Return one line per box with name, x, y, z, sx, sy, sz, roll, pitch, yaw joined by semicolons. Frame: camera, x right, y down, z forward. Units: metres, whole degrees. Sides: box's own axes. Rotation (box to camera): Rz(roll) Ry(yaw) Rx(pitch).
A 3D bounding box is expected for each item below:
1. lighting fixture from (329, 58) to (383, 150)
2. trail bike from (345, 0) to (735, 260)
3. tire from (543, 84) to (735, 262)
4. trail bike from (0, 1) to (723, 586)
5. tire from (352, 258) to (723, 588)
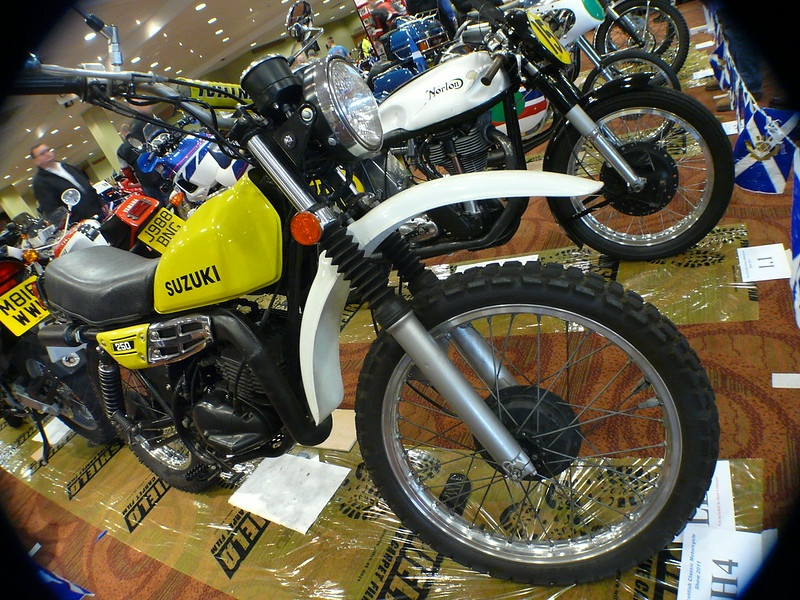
lighting fixture;-0.183;-0.606;1.905;0.065;0.249;0.249;-14;-8;15
trail bike;0.815;-0.810;3.094;2.025;1.174;1.073;-7;29;24
tire;1.178;-0.615;3.004;1.036;1.040;0.312;-3;21;18
trail bike;-0.301;-0.172;2.838;3.114;1.910;2.001;7;23;27
tire;0.470;0.478;2.111;1.168;1.155;0.270;3;21;16
